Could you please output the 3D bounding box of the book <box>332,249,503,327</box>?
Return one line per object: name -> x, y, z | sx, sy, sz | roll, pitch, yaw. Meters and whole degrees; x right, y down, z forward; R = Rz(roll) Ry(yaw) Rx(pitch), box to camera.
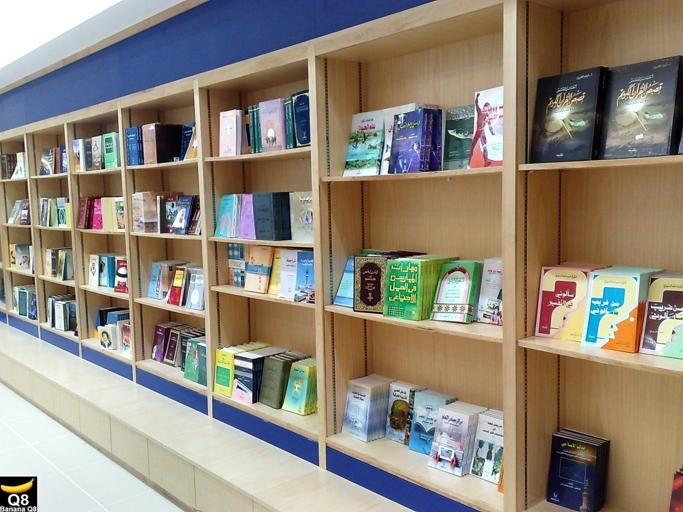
book -> 0.483, 0.147, 2.592 | 0.854, 0.317, 0.315 | 7, 6, 29
